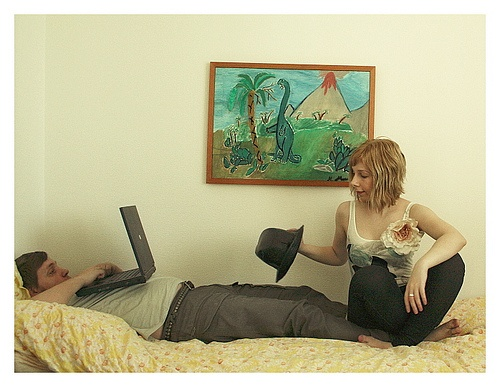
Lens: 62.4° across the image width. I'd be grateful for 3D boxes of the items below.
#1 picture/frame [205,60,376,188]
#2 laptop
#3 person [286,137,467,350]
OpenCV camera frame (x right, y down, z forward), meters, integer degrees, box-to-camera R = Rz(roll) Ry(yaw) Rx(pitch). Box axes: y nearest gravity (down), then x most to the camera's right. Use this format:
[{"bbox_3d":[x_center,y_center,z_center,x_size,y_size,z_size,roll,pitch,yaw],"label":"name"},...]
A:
[{"bbox_3d":[0.308,-0.488,2.823,0.946,0.645,0.022,1,1,2],"label":"picture/frame"},{"bbox_3d":[-0.839,0.356,2.575,0.431,0.442,0.510,-12,0,0],"label":"laptop"},{"bbox_3d":[0.746,0.274,2.332,0.723,1.116,0.862,-9,4,-30],"label":"person"}]
